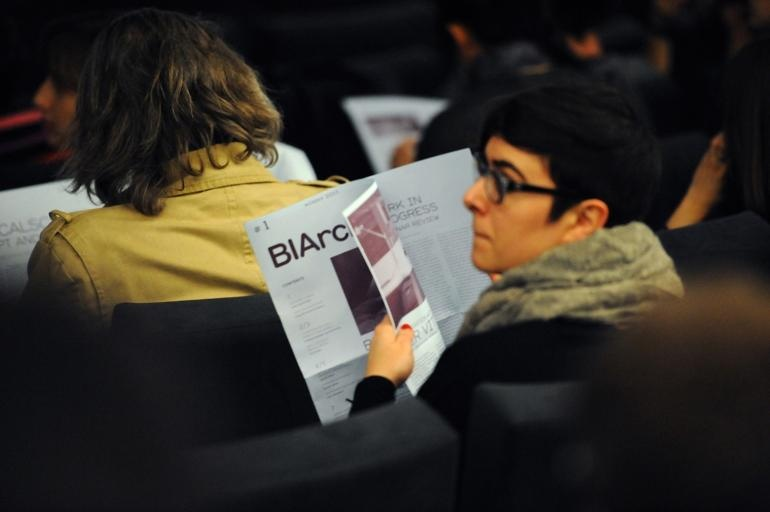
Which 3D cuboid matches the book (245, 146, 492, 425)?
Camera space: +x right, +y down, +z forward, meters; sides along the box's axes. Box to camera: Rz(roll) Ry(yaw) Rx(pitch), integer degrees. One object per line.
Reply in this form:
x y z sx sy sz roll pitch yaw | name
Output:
-0.014 0.066 1.248 0.356 0.371 0.043 -23 15 -9 | book
